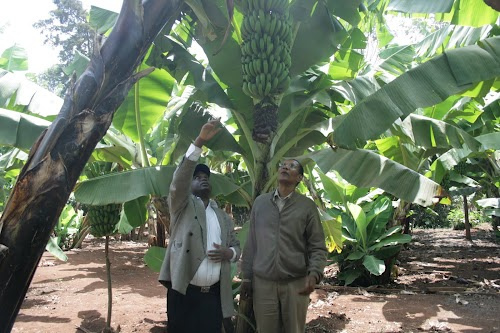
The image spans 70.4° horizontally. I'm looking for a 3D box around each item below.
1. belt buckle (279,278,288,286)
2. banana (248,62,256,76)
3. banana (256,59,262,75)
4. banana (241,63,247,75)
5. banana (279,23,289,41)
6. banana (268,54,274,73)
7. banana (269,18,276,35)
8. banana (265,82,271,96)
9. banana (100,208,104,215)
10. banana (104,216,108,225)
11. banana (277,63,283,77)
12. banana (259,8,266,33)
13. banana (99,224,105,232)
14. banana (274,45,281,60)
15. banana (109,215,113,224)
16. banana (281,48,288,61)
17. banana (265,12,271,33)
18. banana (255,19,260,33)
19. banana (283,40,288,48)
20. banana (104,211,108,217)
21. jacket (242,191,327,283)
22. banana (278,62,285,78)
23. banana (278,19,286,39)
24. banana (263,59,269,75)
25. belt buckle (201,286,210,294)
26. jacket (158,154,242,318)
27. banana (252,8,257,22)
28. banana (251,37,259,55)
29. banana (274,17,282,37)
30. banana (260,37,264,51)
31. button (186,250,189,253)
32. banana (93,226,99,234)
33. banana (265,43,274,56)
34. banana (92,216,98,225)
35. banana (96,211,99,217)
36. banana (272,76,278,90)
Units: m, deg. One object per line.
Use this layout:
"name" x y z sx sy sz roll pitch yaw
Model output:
"belt buckle" 0.386 1.314 4.046 0.096 0.081 0.027 5 -13 -4
"banana" 0.029 -1.272 4.694 0.034 0.144 0.113 -12 -9 -37
"banana" 0.122 -1.299 4.641 0.073 0.176 0.089 3 -13 6
"banana" -0.083 -1.318 4.818 0.054 0.207 0.065 -12 12 4
"banana" 0.462 -1.766 4.677 0.050 0.188 0.144 25 52 27
"banana" 0.272 -1.336 4.613 0.049 0.216 0.055 4 6 -5
"banana" 0.300 -1.802 4.582 0.056 0.219 0.044 3 16 -19
"banana" 0.242 -1.021 4.677 0.038 0.162 0.040 29 44 10
"banana" -2.288 0.692 5.448 0.057 0.107 0.034 0 2 -23
"banana" -2.231 0.838 5.454 0.053 0.109 0.035 2 6 -13
"banana" 0.391 -1.258 4.644 0.053 0.162 0.034 4 8 -30
"banana" 0.163 -1.901 4.605 0.078 0.321 0.053 -6 3 -1
"banana" -2.282 0.962 5.480 0.057 0.096 0.025 -14 10 -23
"banana" 0.363 -1.485 4.663 0.047 0.180 0.053 23 9 35
"banana" -2.156 0.822 5.504 0.036 0.127 0.028 14 -6 15
"banana" 0.457 -1.463 4.686 0.048 0.157 0.095 -8 -17 43
"banana" 0.234 -1.851 4.593 0.055 0.246 0.062 4 -4 7
"banana" 0.103 -1.804 4.603 0.042 0.117 0.082 6 19 18
"banana" 0.472 -1.603 4.692 0.024 0.106 0.031 -7 -17 -2
"banana" -2.230 0.726 5.469 0.047 0.090 0.029 1 -1 -23
"jacket" 0.391 0.861 4.186 1.175 1.217 0.695 2 -16 10
"banana" 0.438 -1.275 4.692 0.048 0.187 0.034 5 16 8
"banana" 0.413 -1.758 4.647 0.094 0.279 0.058 4 2 12
"banana" 0.210 -1.293 4.616 0.073 0.193 0.104 3 -13 5
"belt buckle" -0.510 1.387 3.998 0.086 0.083 0.022 4 4 -18
"jacket" -0.623 0.828 4.071 0.632 1.696 1.000 -5 -16 37
"banana" 0.058 -1.982 4.635 0.054 0.111 0.027 2 0 11
"banana" 0.068 -1.549 4.692 0.056 0.258 0.067 1 10 23
"banana" 0.370 -1.799 4.612 0.120 0.197 0.052 0 13 -36
"banana" 0.160 -1.592 4.625 0.047 0.165 0.087 3 -13 6
"button" -0.686 0.934 3.897 0.037 0.035 0.009 9 6 41
"banana" -2.394 0.995 5.487 0.035 0.151 0.049 -32 14 -18
"banana" 0.261 -1.515 4.612 0.089 0.141 0.037 21 21 2
"banana" -2.391 0.832 5.451 0.038 0.166 0.044 -25 2 0
"banana" -2.348 0.721 5.438 0.055 0.090 0.018 3 0 -32
"banana" 0.338 -1.083 4.673 0.072 0.121 0.028 0 21 -16
